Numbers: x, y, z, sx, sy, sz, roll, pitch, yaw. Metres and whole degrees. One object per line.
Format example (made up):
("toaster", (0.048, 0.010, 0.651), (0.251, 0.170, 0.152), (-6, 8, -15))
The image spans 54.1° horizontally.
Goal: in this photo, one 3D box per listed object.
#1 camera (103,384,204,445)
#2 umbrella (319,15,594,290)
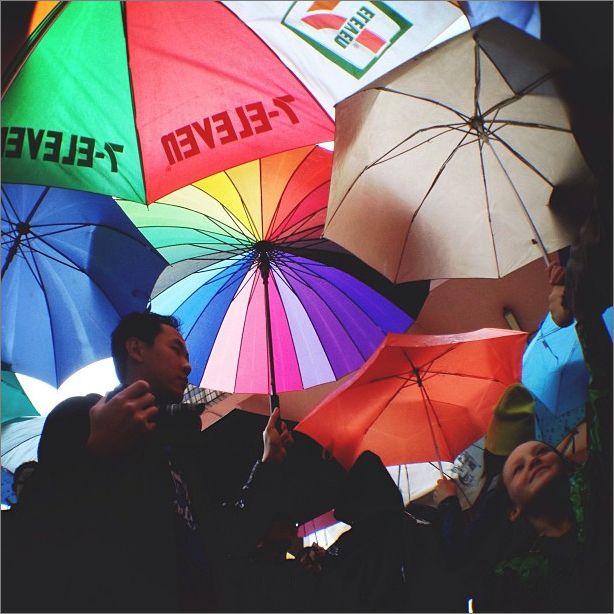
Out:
("camera", (-1.211, 0.879, 4.782), (0.412, 0.554, 0.216), (28, -88, -54))
("umbrella", (1.205, -1.146, 4.684), (1.981, 1.841, 0.686), (-9, 22, -5))
